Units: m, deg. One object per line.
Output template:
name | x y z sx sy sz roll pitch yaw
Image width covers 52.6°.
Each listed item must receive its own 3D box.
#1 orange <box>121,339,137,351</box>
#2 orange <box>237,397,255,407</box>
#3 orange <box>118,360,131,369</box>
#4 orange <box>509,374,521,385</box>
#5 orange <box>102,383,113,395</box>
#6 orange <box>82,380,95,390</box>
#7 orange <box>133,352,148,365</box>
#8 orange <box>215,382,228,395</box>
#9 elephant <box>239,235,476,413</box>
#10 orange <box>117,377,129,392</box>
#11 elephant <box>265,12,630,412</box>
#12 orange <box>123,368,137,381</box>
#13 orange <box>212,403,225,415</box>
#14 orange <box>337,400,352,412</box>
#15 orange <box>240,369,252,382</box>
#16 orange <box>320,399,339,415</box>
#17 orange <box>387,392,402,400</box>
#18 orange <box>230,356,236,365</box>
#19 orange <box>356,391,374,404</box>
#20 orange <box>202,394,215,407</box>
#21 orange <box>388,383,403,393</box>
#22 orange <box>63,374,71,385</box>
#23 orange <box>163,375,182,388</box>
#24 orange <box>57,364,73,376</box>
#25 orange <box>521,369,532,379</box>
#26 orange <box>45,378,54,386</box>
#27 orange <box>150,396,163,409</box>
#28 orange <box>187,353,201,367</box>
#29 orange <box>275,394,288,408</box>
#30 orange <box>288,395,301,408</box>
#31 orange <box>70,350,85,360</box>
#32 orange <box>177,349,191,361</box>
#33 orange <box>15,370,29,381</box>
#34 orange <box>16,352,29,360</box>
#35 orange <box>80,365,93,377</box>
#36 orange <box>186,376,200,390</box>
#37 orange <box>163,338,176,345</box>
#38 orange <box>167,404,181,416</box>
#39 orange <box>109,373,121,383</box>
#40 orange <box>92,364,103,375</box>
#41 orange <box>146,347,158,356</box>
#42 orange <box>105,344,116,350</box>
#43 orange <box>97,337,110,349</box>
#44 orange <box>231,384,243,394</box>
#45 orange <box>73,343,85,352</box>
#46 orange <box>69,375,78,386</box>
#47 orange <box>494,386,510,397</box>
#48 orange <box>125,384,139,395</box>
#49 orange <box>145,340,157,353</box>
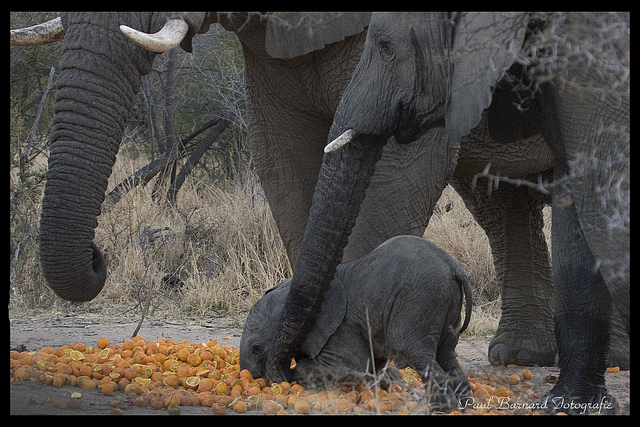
orange | -1.271 0.886 4.327 0.098 0.065 0.129 10 -4 -16
orange | -0.393 0.995 3.405 0.096 0.036 0.049 8 -4 20
orange | -1.191 0.928 3.969 0.037 0.040 0.037 -2 3 5
orange | 1.251 1.066 4.156 0.053 0.058 0.056 -2 0 4
orange | -1.199 0.996 3.658 0.048 0.049 0.051 1 -15 6
orange | -1.305 0.975 3.668 0.046 0.049 0.045 0 2 3
orange | -1.144 0.927 4.135 0.070 0.077 0.076 -7 31 -44
orange | -0.545 0.973 3.599 0.059 0.049 0.044 -13 10 -30
elephant | 0.182 0.700 3.760 1.292 0.989 0.675 -12 -4 24
orange | -1.134 0.992 3.744 0.050 0.068 0.032 -14 -33 24
elephant | 0.770 0.042 3.208 1.715 1.963 0.879 8 -4 2
orange | -1.108 0.952 3.819 0.091 0.063 0.065 5 -5 42
orange | -0.519 1.024 3.382 0.061 0.046 0.110 11 -5 -30
orange | 0.125 0.989 3.308 0.055 0.032 0.051 30 39 28
orange | -0.412 0.912 3.652 0.053 0.052 0.054 34 7 16
orange | 0.050 0.988 3.296 0.058 0.046 0.077 2 -3 1
orange | 0.399 0.980 3.474 0.082 0.047 0.037 4 3 2
orange | -0.561 0.961 4.223 0.033 0.040 0.070 9 -4 -7
orange | 0.239 0.979 3.462 0.068 0.041 0.069 -27 -1 -18
orange | -0.596 1.005 3.471 0.046 0.049 0.060 0 -5 -4
orange | 0.418 0.958 3.561 0.060 0.044 0.075 -1 16 -9
orange | -1.427 0.944 3.680 0.031 0.038 0.044 -10 -44 0
orange | -0.863 0.982 3.790 0.104 0.061 0.071 6 -5 33
orange | -1.464 0.900 3.726 0.051 0.038 0.065 1 3 -3
orange | 1.373 1.065 4.296 0.049 0.053 0.051 8 -3 -4
orange | -1.524 0.951 3.655 0.039 0.040 0.039 15 2 -25
orange | -0.869 1.015 3.457 0.051 0.054 0.054 -1 -18 -1
orange | -0.804 0.932 4.092 0.058 0.067 0.082 0 0 -9
orange | -0.205 0.980 3.397 0.041 0.053 0.045 1 -16 -1
orange | -0.129 0.981 3.388 0.052 0.077 0.055 6 -24 12
orange | -1.536 0.898 4.108 0.089 0.052 0.105 11 -5 -19
orange | -0.868 0.912 4.166 0.054 0.062 0.075 -5 -8 34
orange | -1.686 0.923 3.677 0.041 0.047 0.058 1 -10 -1
orange | -1.865 0.894 4.062 0.040 0.051 0.043 -7 -40 -6
orange | -1.379 0.932 3.818 0.077 0.062 0.085 9 -4 -6
orange | -0.732 0.985 3.757 0.069 0.062 0.075 11 -5 -32
orange | -1.093 0.938 4.734 0.076 0.047 0.061 24 1 6
orange | -0.757 1.023 3.369 0.065 0.052 0.072 1 4 -9
orange | -1.194 0.959 3.783 0.064 0.051 0.049 10 -4 -18
orange | -1.335 0.935 3.889 0.055 0.048 0.105 11 -5 -26
orange | -1.098 0.912 4.260 0.064 0.047 0.097 10 -4 -14
orange | -1.413 0.910 4.408 0.036 0.035 0.036 16 -11 -23
orange | -1.463 0.882 4.398 0.067 0.072 0.067 -3 -25 6
orange | -0.452 0.977 3.591 0.038 0.041 0.039 0 3 5
orange | -1.607 0.897 4.342 0.053 0.058 0.053 -2 1 3
orange | -1.401 0.954 3.689 0.036 0.042 0.051 -2 0 1
orange | 1.051 1.016 3.721 0.058 0.064 0.060 -2 0 1
orange | -1.056 0.989 3.646 0.060 0.051 0.047 -6 9 -2
orange | -1.132 0.890 4.357 0.052 0.066 0.054 4 -20 5
